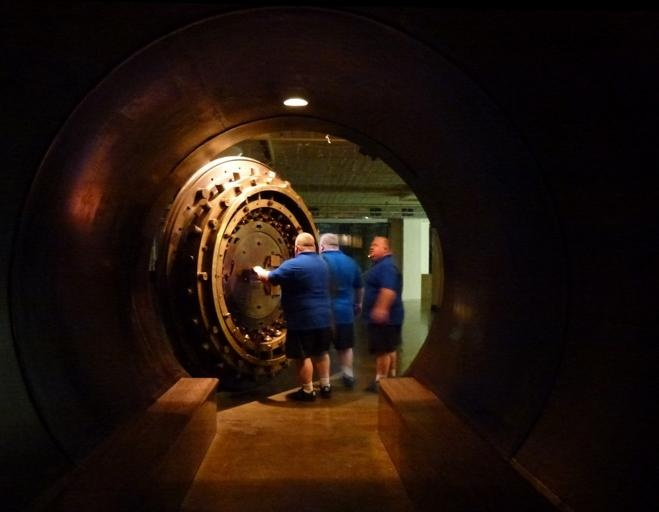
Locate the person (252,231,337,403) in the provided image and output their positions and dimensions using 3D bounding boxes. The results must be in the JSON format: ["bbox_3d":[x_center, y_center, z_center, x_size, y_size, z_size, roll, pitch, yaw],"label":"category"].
[{"bbox_3d":[-0.244,0.559,4.402,0.569,1.517,0.283,2,2,0],"label":"person"}]

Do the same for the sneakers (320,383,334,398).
[{"bbox_3d":[-0.012,1.271,4.551,0.119,0.074,0.218,2,-3,3],"label":"sneakers"}]

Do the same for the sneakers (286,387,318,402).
[{"bbox_3d":[-0.245,1.278,4.472,0.296,0.132,0.109,-2,-10,25],"label":"sneakers"}]

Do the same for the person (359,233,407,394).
[{"bbox_3d":[0.549,0.530,4.446,0.421,1.393,0.414,1,2,-29],"label":"person"}]
